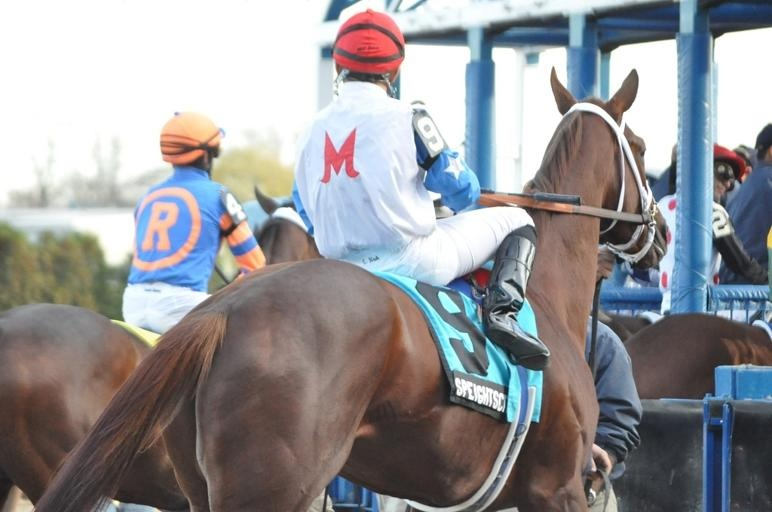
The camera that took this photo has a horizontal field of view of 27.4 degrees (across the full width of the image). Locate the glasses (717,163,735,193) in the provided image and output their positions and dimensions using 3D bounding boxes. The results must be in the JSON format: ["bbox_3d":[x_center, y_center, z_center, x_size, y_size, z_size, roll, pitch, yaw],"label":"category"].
[{"bbox_3d":[3.535,-0.825,16.675,0.149,0.300,0.230,5,15,43],"label":"glasses"}]

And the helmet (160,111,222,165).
[{"bbox_3d":[-1.657,-1.026,13.482,0.393,0.436,0.506,-4,13,34],"label":"helmet"}]
